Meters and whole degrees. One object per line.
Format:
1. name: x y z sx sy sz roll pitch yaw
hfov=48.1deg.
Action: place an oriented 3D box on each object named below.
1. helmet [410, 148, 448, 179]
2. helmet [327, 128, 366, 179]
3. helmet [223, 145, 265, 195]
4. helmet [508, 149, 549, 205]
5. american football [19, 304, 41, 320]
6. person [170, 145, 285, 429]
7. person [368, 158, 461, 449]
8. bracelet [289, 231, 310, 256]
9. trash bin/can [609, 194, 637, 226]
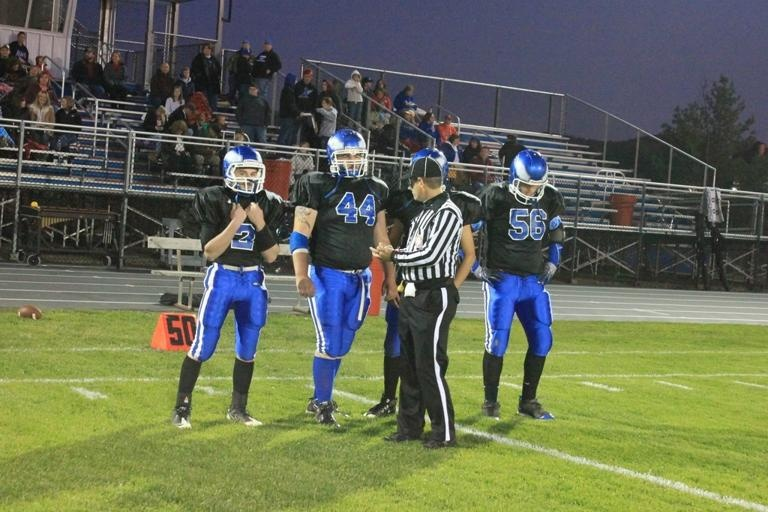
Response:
1. helmet: 0.435 -0.923 8.619 0.382 0.213 0.282 24 36 31
2. helmet: -0.436 -1.095 9.128 0.410 0.407 0.525 -2 11 -15
3. helmet: -1.501 -0.891 8.743 0.407 0.418 0.506 -4 14 -32
4. helmet: 1.545 -0.904 9.618 0.497 0.574 0.481 0 -40 -7
5. american football: -5.000 0.786 12.129 0.385 0.160 0.270 5 6 8
6. person: -1.547 0.280 8.694 0.946 2.786 0.782 4 7 -9
7. person: 0.399 0.421 8.413 0.870 2.802 0.503 6 7 11
8. bracelet: -0.885 -0.132 8.906 0.235 0.216 0.215 2 -6 -15
9. trash bin/can: 6.856 -1.309 24.856 0.890 0.917 0.864 1 -9 13
